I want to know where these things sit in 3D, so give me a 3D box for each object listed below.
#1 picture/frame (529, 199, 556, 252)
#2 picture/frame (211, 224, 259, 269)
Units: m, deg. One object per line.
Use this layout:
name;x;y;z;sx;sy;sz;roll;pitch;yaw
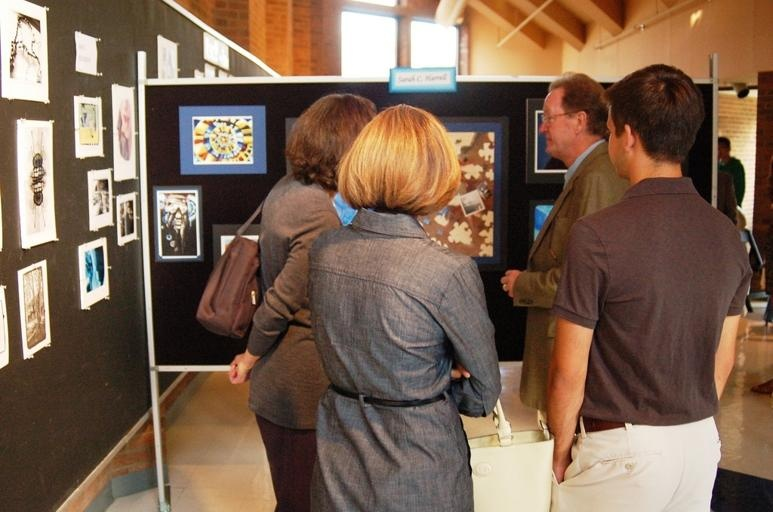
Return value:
picture/frame;0.941;-0.201;3.902;0.059;0.268;0.199;7;-3;38
picture/frame;-0.790;-0.045;3.208;0.276;0.271;0.018;0;3;0
